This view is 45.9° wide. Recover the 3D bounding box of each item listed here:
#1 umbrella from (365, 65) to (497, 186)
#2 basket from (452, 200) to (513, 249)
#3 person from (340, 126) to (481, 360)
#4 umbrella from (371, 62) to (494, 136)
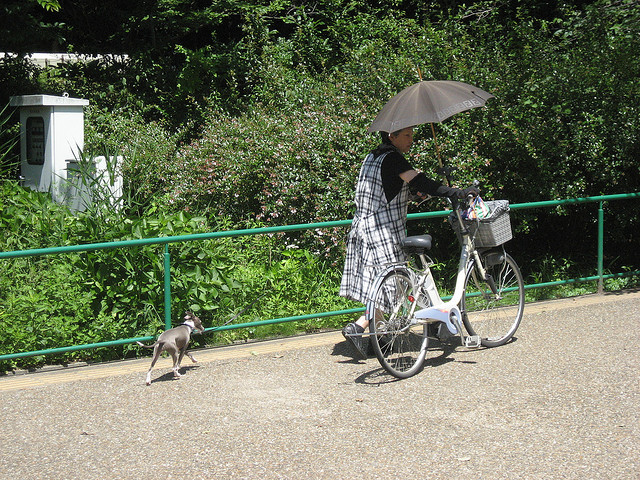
[{"bbox_3d":[1.174,-1.177,7.986,1.147,1.099,1.166,-9,17,19],"label":"umbrella"},{"bbox_3d":[1.694,-0.193,7.853,0.539,0.383,0.435,-10,8,-8],"label":"basket"},{"bbox_3d":[0.746,0.061,7.545,1.264,1.621,0.957,-7,3,-6],"label":"person"},{"bbox_3d":[1.073,-1.339,7.634,0.763,0.525,0.765,-28,3,-20],"label":"umbrella"}]
